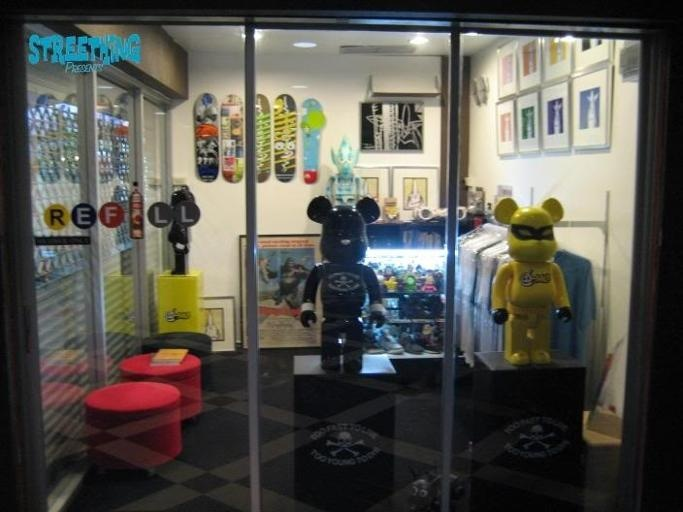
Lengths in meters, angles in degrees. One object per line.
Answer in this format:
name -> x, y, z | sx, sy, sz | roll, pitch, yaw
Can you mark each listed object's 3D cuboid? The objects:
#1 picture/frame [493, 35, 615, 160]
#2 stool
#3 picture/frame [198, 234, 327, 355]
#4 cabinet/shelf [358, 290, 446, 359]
picture/frame -> 1.125, -0.864, 2.958 | 0.686, 0.629, 0.033 | -1, 3, 1
stool -> -1.024, 0.766, 3.042 | 0.486, 0.394, 0.827 | 2, 9, -4
picture/frame -> -0.443, 0.177, 2.917 | 0.685, 0.468, 0.023 | -1, 8, -3
cabinet/shelf -> 0.273, 0.381, 3.072 | 0.523, 0.328, 0.289 | 5, -13, -30
